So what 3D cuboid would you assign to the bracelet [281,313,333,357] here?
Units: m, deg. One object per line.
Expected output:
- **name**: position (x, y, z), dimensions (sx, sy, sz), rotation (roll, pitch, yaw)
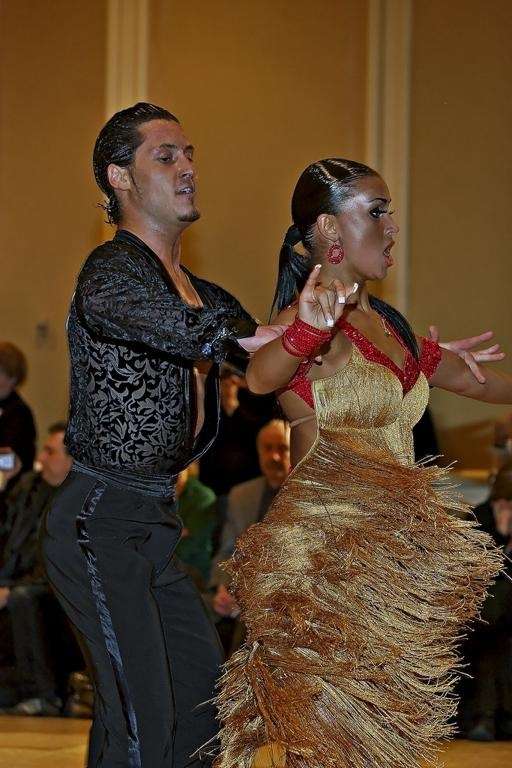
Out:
- **bracelet**: position (0.097, -0.090, 1.429), dimensions (0.087, 0.053, 0.079), rotation (-3, 15, 0)
